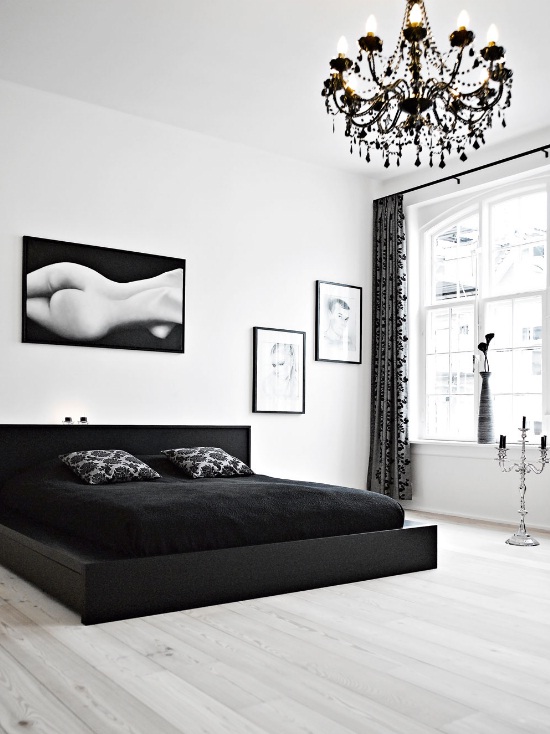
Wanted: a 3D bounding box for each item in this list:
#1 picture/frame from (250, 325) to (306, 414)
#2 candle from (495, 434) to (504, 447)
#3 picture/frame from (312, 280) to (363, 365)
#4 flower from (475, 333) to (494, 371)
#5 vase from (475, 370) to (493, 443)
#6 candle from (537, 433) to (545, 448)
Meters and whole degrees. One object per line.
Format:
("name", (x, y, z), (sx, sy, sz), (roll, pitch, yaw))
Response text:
("picture/frame", (0.006, 0.030, 5.328), (0.668, 1.102, 0.039), (4, -7, -36))
("candle", (1.702, 0.572, 4.297), (0.026, 0.097, 0.159), (-1, -10, 16))
("picture/frame", (0.641, -0.460, 5.792), (0.637, 0.823, 0.083), (7, -10, -36))
("flower", (1.938, -0.141, 5.240), (0.149, 0.371, 0.266), (-2, -9, 20))
("vase", (1.889, 0.363, 5.163), (0.145, 0.655, 0.122), (-4, -9, 32))
("candle", (1.950, 0.553, 4.153), (0.024, 0.100, 0.105), (-2, -9, 17))
